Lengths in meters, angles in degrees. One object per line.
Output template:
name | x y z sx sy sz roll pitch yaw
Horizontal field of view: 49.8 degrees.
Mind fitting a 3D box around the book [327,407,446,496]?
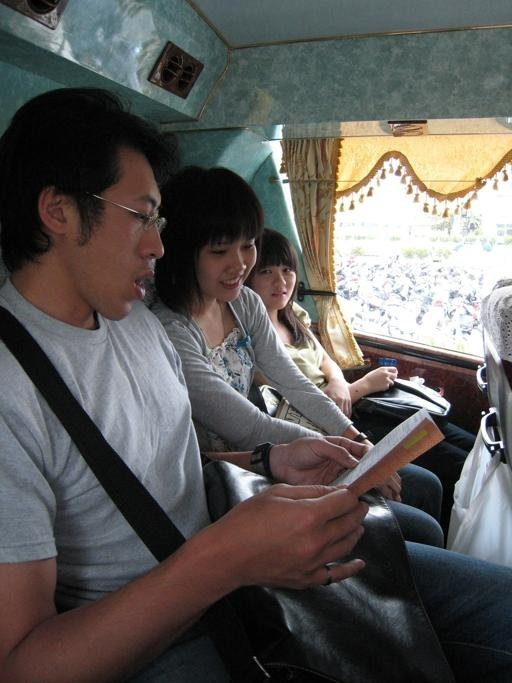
book | 0.239 0.171 1.029 0.215 0.048 0.206 -38 -9 10

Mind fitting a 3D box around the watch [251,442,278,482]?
watch | 0.016 0.312 1.439 0.064 0.088 0.087 -18 -14 28

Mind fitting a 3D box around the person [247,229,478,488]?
person | 0.415 0.137 2.596 1.217 1.053 0.516 13 18 40

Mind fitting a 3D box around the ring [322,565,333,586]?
ring | 0.120 0.385 0.916 0.014 0.034 0.031 4 7 11
